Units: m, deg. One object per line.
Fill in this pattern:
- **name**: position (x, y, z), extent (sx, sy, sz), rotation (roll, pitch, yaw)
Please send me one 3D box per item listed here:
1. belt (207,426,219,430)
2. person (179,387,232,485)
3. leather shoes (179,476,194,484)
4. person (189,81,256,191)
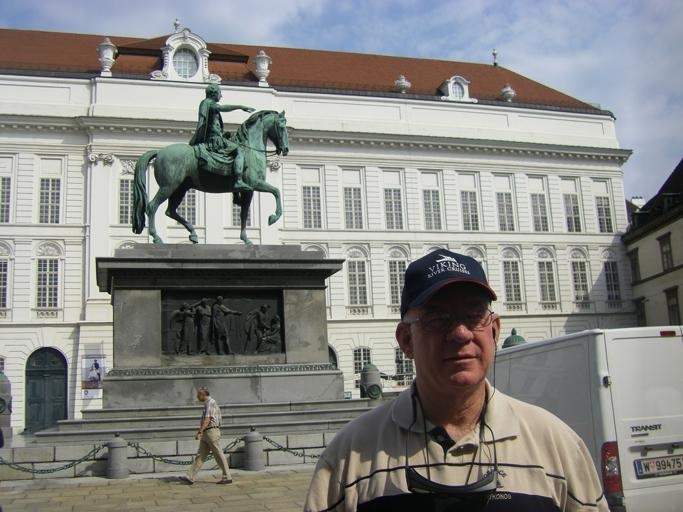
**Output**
- **belt**: position (-2.796, 3.671, 19.726), extent (0.285, 0.096, 0.127), rotation (7, -15, -37)
- **person**: position (-2.897, 3.840, 19.767), extent (1.003, 2.074, 0.633), rotation (-9, -14, 29)
- **leather shoes**: position (-3.373, 4.801, 19.686), extent (0.201, 0.167, 0.552), rotation (8, -15, -40)
- **person**: position (-3.364, -3.323, 24.690), extent (1.459, 3.091, 0.997), rotation (0, -12, -9)
